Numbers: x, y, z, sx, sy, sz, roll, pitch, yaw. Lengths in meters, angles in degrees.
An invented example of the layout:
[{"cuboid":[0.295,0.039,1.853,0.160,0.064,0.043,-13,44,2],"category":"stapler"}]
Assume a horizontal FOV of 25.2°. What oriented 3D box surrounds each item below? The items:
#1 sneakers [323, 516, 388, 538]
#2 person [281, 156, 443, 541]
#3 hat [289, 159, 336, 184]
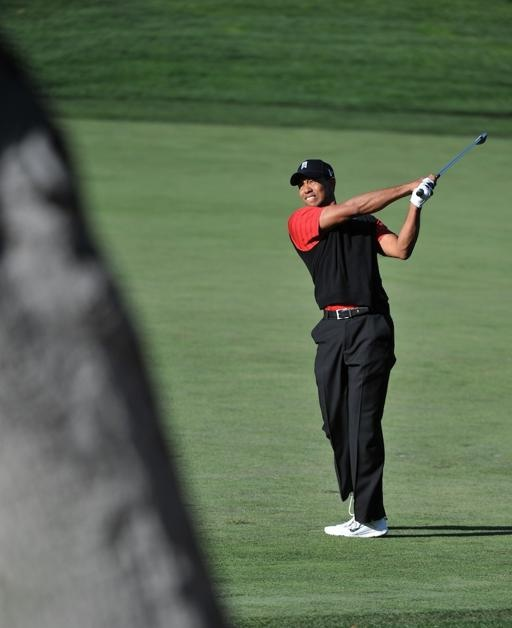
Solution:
[{"cuboid":[0.279,0.586,3.185,0.190,0.066,0.061,1,0,0],"category":"sneakers"},{"cuboid":[0.352,0.142,3.368,0.421,1.132,0.840,-7,28,2],"category":"person"},{"cuboid":[0.169,-0.435,3.440,0.117,0.050,0.077,10,-10,-38],"category":"hat"}]
